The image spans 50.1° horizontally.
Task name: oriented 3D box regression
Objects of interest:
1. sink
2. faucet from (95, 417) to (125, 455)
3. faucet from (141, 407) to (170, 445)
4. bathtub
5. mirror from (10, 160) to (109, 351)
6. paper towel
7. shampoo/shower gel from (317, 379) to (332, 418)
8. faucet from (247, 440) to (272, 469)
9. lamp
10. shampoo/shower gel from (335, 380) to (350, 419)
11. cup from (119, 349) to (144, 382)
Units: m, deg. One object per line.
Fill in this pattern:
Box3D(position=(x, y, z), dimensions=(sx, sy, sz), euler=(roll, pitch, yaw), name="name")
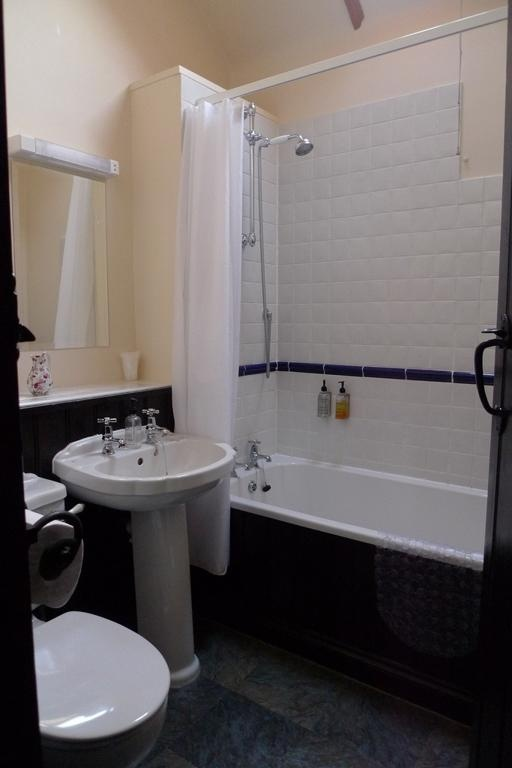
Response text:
Box3D(position=(-0.346, 0.317, 1.853), dimensions=(0.454, 0.251, 0.639), euler=(7, 5, 30), name="sink")
Box3D(position=(-0.509, 0.175, 1.880), dimensions=(0.074, 0.160, 0.121), euler=(-3, 7, -39), name="faucet")
Box3D(position=(-0.366, 0.161, 2.049), dimensions=(0.122, 0.191, 0.077), euler=(2, 4, 36), name="faucet")
Box3D(position=(0.361, 0.671, 2.247), dimensions=(1.123, 0.531, 0.844), euler=(4, 9, 32), name="bathtub")
Box3D(position=(-0.702, -0.448, 2.001), dimensions=(0.066, 0.636, 0.448), euler=(2, 7, 24), name="mirror")
Box3D(position=(-0.252, 0.209, 0.709), dimensions=(0.080, 0.069, 0.067), euler=(28, -1, -2), name="paper towel")
Box3D(position=(0.346, 0.083, 2.788), dimensions=(0.074, 0.200, 0.053), euler=(1, 6, 15), name="shampoo/shower gel")
Box3D(position=(0.017, 0.360, 2.758), dimensions=(0.077, 0.169, 0.132), euler=(-4, 3, -45), name="faucet")
Box3D(position=(-0.673, -0.792, 1.940), dimensions=(0.079, 0.079, 0.425), euler=(4, 9, 34), name="lamp")
Box3D(position=(0.425, 0.090, 2.718), dimensions=(0.073, 0.205, 0.063), euler=(3, 6, 28), name="shampoo/shower gel")
Box3D(position=(-0.527, -0.073, 2.293), dimensions=(0.095, 0.158, 0.098), euler=(2, 15, -1), name="cup")
